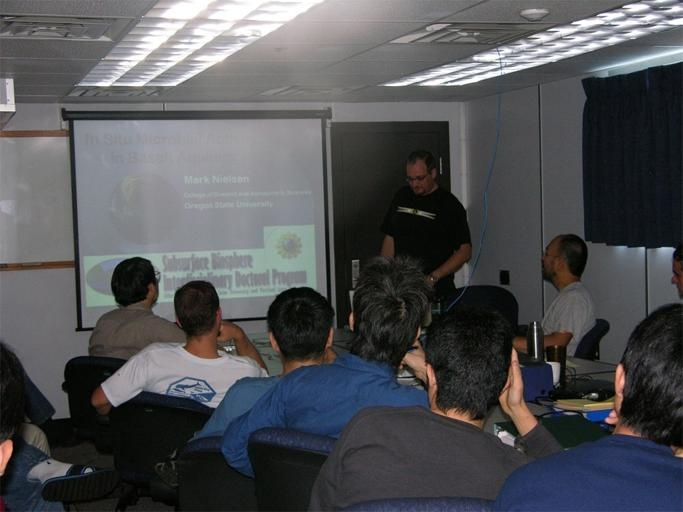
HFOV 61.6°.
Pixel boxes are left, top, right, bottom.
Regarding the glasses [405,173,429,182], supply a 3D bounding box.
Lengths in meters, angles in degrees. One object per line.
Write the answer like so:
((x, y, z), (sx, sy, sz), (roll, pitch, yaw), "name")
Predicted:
((0.630, -0.647, 4.774), (0.168, 0.050, 0.087), (1, 7, 11), "glasses")

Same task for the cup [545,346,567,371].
((1.020, 0.487, 2.721), (0.093, 0.109, 0.101), (0, -2, 0), "cup")

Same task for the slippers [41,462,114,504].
((-0.937, 0.830, 2.056), (0.249, 0.102, 0.100), (-1, 14, -29), "slippers")
